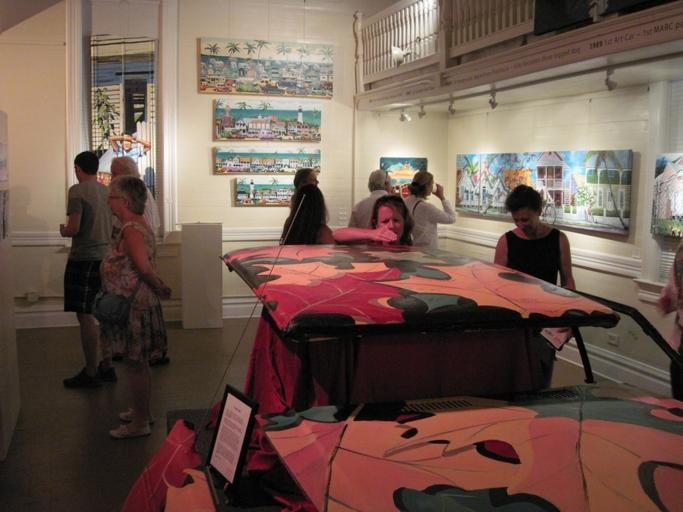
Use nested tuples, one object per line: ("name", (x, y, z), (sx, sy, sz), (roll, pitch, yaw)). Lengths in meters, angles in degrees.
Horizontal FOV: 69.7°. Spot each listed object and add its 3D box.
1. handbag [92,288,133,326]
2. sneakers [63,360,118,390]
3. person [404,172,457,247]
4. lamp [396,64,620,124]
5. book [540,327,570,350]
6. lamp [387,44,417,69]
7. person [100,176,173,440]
("handbag", (-1.646, 0.389, 3.539), (0.230, 0.217, 0.129), (0, 13, 3))
("sneakers", (-2.414, 1.160, 4.765), (0.499, 0.197, 0.208), (2, 0, -13))
("person", (1.086, -0.518, 5.942), (0.537, 1.034, 1.709), (2, 13, 13))
("lamp", (1.578, -1.646, 5.078), (0.129, 0.278, 2.836), (-6, 12, -26))
("book", (0.904, 0.355, 2.142), (0.138, 0.102, 0.049), (-11, 10, -3))
("lamp", (0.748, -2.559, 6.234), (0.209, 0.300, 0.599), (-2, 13, -5))
("person", (-1.588, 0.406, 3.725), (0.531, 1.983, 0.423), (-8, 15, -26))
